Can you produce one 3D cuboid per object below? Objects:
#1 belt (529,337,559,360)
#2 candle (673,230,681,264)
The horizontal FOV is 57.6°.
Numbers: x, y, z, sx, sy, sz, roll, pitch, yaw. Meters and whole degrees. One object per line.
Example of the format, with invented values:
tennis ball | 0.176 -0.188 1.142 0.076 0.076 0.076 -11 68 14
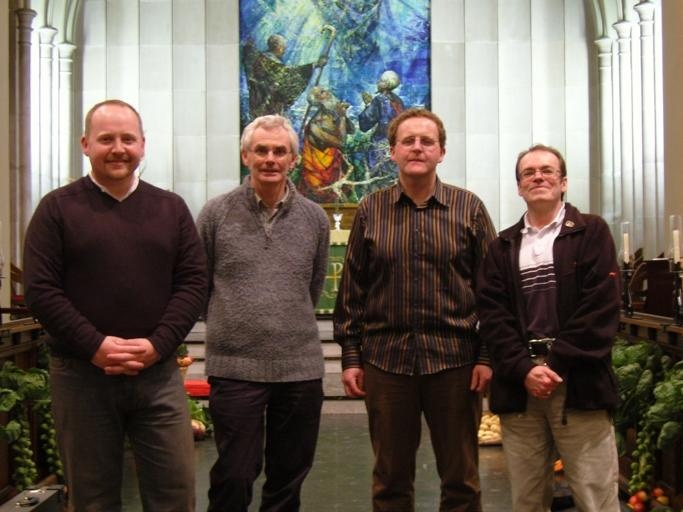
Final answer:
belt | 0.944 0.418 2.894 0.104 0.088 0.119 1 -1 44
candle | 2.285 -0.069 4.230 0.043 0.222 0.224 -1 1 30
